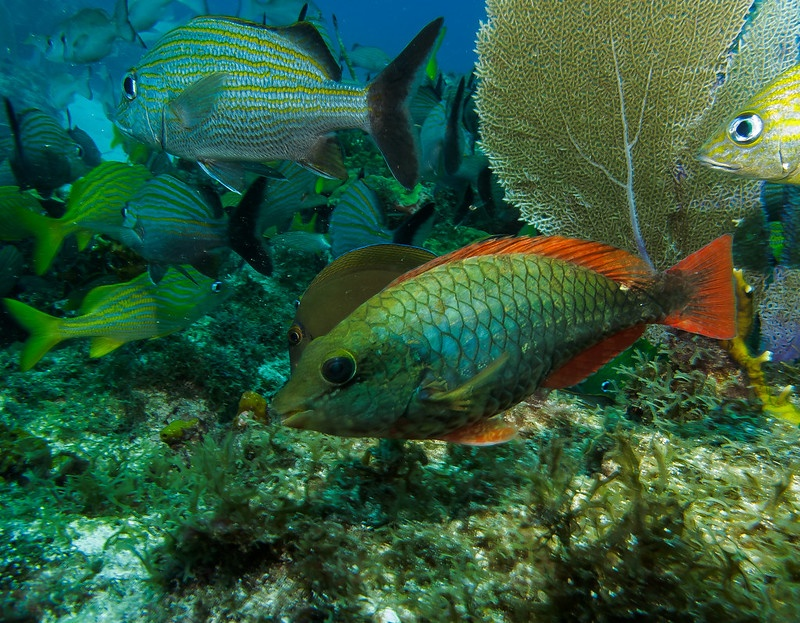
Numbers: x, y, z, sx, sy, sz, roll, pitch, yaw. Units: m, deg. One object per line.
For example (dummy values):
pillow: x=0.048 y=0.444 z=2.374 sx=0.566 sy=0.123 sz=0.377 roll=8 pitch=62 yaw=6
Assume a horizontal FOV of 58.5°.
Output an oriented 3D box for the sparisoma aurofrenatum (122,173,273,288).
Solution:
sparisoma aurofrenatum: x=-1.559 y=-0.661 z=5.470 sx=1.101 sy=0.526 sz=0.749 roll=11 pitch=18 yaw=39

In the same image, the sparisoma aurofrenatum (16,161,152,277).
sparisoma aurofrenatum: x=-2.571 y=-0.726 z=5.798 sx=0.349 sy=0.576 sz=1.197 roll=23 pitch=52 yaw=31
